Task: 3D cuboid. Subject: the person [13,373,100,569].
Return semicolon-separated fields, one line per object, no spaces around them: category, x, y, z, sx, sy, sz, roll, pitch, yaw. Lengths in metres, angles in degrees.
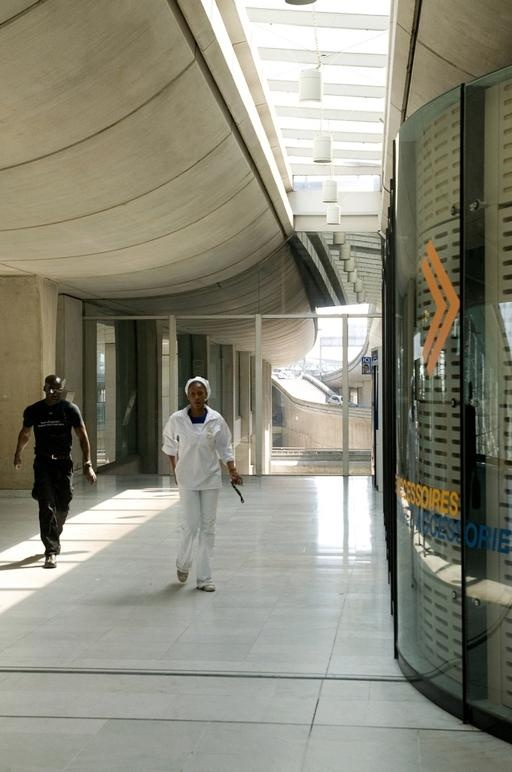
person;-2.083;0.867;5.970;0.661;1.917;0.415;3;-8;-24

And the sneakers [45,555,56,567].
sneakers;-2.059;1.746;5.758;0.116;0.115;0.211;3;-9;-20

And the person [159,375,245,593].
person;-0.470;0.834;4.912;0.638;1.770;0.521;-1;-7;9

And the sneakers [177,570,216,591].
sneakers;-0.507;1.682;5.022;0.449;0.230;0.134;-8;-8;40
